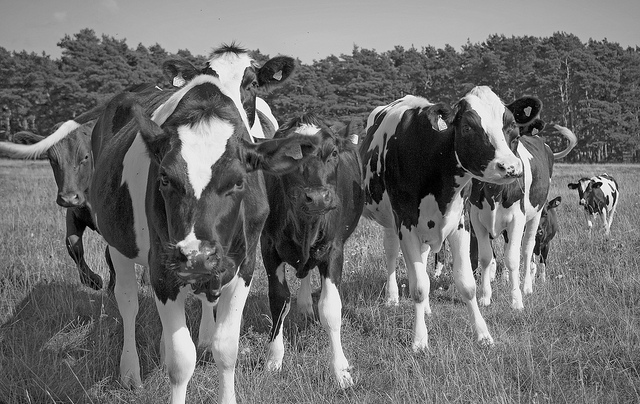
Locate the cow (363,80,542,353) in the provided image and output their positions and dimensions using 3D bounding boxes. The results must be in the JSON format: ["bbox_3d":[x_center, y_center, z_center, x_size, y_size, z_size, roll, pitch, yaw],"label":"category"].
[{"bbox_3d":[2.075,0.178,11.347,1.871,4.804,6.817,-2,7,-10],"label":"cow"}]

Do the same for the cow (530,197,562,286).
[{"bbox_3d":[5.352,0.958,13.876,0.667,1.810,2.703,5,-3,25],"label":"cow"}]

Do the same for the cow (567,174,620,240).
[{"bbox_3d":[8.340,0.129,17.262,0.854,1.933,3.195,-4,0,39],"label":"cow"}]

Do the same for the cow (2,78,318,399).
[{"bbox_3d":[-2.021,0.530,8.711,1.983,4.738,3.624,-3,5,-41],"label":"cow"}]

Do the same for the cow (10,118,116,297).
[{"bbox_3d":[-5.172,0.006,13.782,1.809,3.891,5.755,-6,10,-11],"label":"cow"}]
